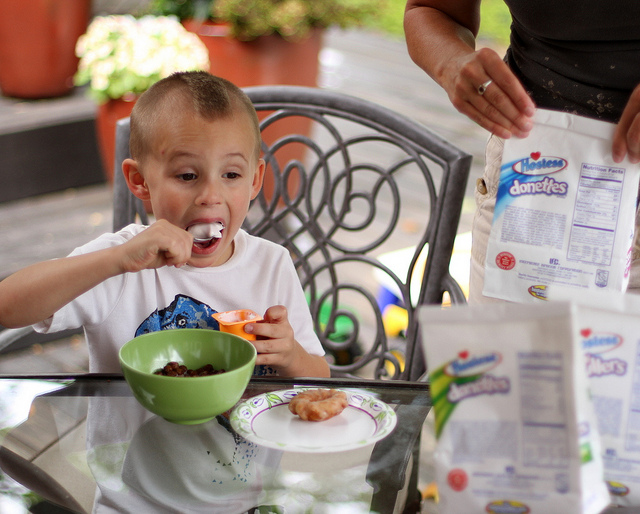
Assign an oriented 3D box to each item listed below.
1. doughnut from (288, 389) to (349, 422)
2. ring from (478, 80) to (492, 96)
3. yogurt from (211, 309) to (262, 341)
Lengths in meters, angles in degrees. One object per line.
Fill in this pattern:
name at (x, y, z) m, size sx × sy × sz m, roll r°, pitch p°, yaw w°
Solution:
doughnut at (0.000, 0.223, 0.933) m, size 0.098 × 0.034 × 0.091 m, roll -4°, pitch 4°, yaw -29°
ring at (0.307, -0.314, 1.140) m, size 0.009 × 0.024 × 0.017 m, roll 29°, pitch 28°, yaw -9°
yogurt at (-0.150, 0.112, 1.087) m, size 0.065 × 0.045 × 0.064 m, roll 0°, pitch 0°, yaw -4°
